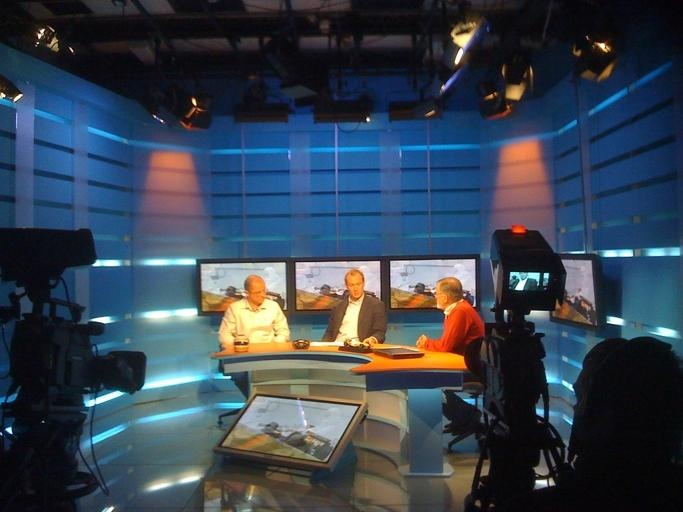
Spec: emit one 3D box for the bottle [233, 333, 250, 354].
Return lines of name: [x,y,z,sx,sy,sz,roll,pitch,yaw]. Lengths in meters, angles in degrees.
bottle: [-0.937,0.808,5.212,0.133,0.127,0.132,2,-15,-10]

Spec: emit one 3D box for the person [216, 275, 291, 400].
person: [-0.883,0.770,5.704,0.691,1.115,0.845,-1,5,-11]

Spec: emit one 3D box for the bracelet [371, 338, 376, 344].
bracelet: [0.287,0.770,5.118,0.049,0.040,0.067,1,-11,1]

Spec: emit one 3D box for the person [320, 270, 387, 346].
person: [0.122,0.555,6.122,0.694,0.930,0.506,-3,-23,16]

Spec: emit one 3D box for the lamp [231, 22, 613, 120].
lamp: [1.421,-1.863,5.813,2.328,0.674,0.971,-1,-30,16]
